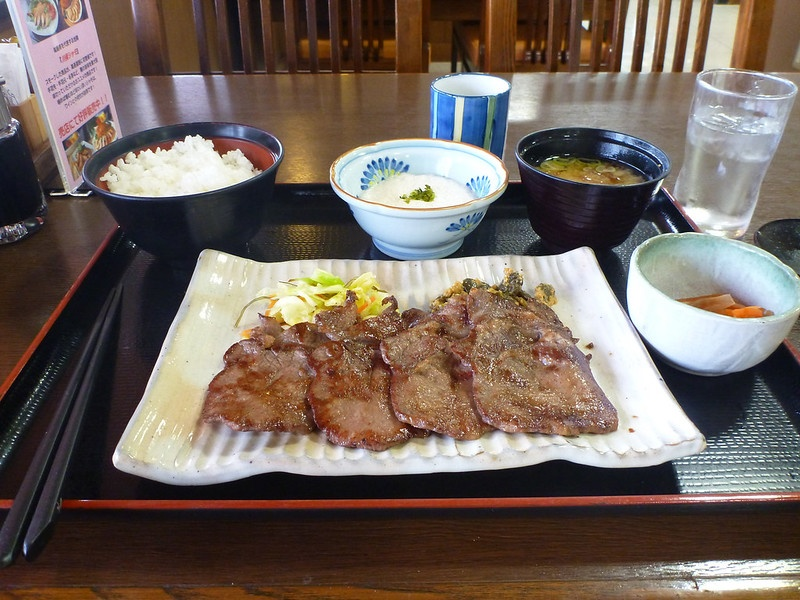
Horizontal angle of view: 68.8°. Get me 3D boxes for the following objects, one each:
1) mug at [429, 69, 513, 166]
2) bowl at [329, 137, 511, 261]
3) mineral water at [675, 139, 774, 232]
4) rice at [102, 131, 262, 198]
[{"bbox_3d":[0.287,-0.741,2.402,0.415,0.386,0.365,8,44,7],"label":"mug"},{"bbox_3d":[0.077,-0.391,2.071,0.616,0.231,0.525,3,38,3],"label":"bowl"},{"bbox_3d":[1.155,-0.407,2.083,0.238,0.327,0.209,-11,48,9],"label":"mineral water"},{"bbox_3d":[-0.783,-0.446,2.018,0.413,0.133,0.360,2,29,7],"label":"rice"}]
